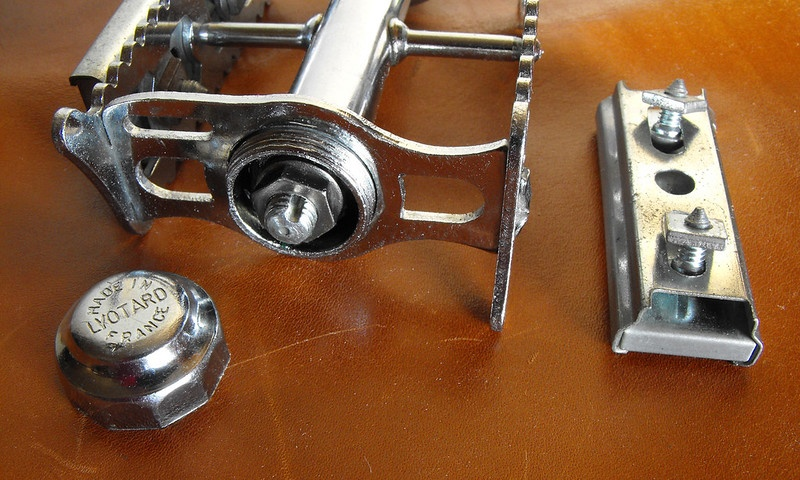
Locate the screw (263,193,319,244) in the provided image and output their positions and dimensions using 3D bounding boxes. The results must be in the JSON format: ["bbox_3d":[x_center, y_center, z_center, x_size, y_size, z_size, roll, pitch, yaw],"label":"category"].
[{"bbox_3d":[-0.183,-0.035,1.285,0.071,0.081,0.032,4,45,0],"label":"screw"}]

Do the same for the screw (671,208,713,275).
[{"bbox_3d":[0.507,0.006,1.344,0.049,0.108,0.059,-1,35,4],"label":"screw"}]

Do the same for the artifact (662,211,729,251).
[{"bbox_3d":[0.511,-0.013,1.338,0.074,0.026,0.081,3,38,0],"label":"artifact"}]
